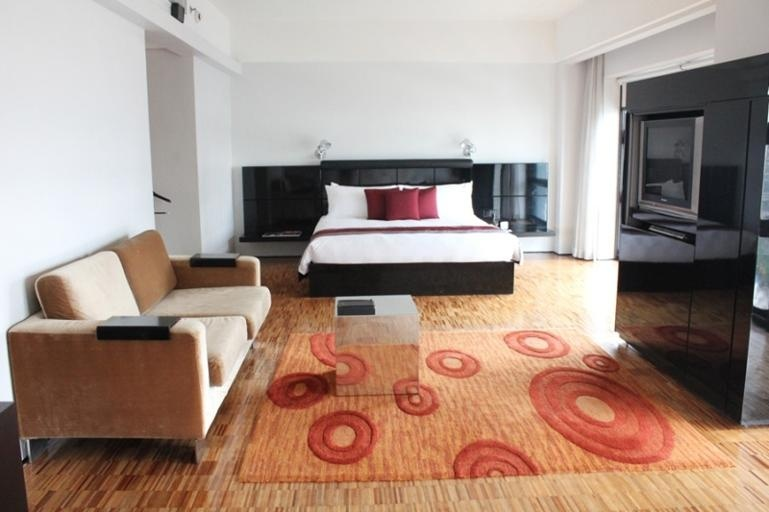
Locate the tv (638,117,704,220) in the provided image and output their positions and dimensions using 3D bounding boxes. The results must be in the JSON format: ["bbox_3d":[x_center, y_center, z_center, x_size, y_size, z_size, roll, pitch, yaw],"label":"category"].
[{"bbox_3d":[2.164,-0.684,4.026,0.783,0.758,0.076,-4,7,-28],"label":"tv"}]

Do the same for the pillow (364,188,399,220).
[{"bbox_3d":[-0.154,-0.643,6.733,0.152,0.402,0.416,1,3,43],"label":"pillow"}]

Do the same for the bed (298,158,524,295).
[{"bbox_3d":[0.210,-0.408,6.370,2.419,1.375,2.498,-1,14,-5],"label":"bed"}]

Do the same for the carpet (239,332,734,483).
[{"bbox_3d":[0.595,1.044,3.778,2.937,0.196,1.510,-1,14,-3],"label":"carpet"}]

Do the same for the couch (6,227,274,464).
[{"bbox_3d":[-1.621,0.544,3.689,1.250,1.122,1.348,0,14,3],"label":"couch"}]

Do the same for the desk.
[{"bbox_3d":[-0.045,0.578,4.050,0.804,0.789,0.593,-1,6,-2],"label":"desk"}]

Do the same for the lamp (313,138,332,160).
[{"bbox_3d":[-0.876,-1.515,7.354,0.217,0.301,0.111,28,14,0],"label":"lamp"}]
